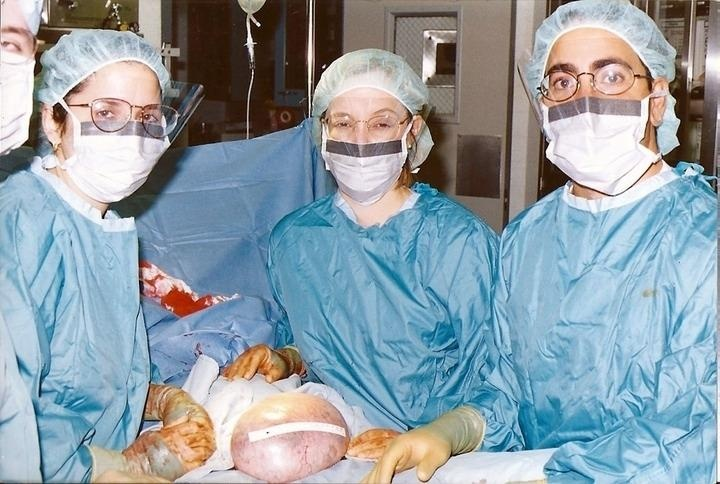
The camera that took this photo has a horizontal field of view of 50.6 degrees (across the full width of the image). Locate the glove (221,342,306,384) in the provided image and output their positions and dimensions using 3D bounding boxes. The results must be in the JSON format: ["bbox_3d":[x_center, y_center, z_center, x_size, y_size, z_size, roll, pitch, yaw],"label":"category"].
[{"bbox_3d":[-0.272,0.326,2.256,0.190,0.132,0.150,1,4,-21],"label":"glove"}]

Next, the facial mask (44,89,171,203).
[{"bbox_3d":[-0.689,-0.247,2.067,0.260,0.189,0.245,33,23,31],"label":"facial mask"}]

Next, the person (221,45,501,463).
[{"bbox_3d":[0.136,-0.037,2.609,1.018,1.575,0.991,2,3,22],"label":"person"}]

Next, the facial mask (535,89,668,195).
[{"bbox_3d":[0.640,-0.262,2.035,0.226,0.193,0.285,3,18,25],"label":"facial mask"}]

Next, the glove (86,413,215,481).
[{"bbox_3d":[-0.515,0.520,1.896,0.301,0.114,0.127,-6,15,-21],"label":"glove"}]
